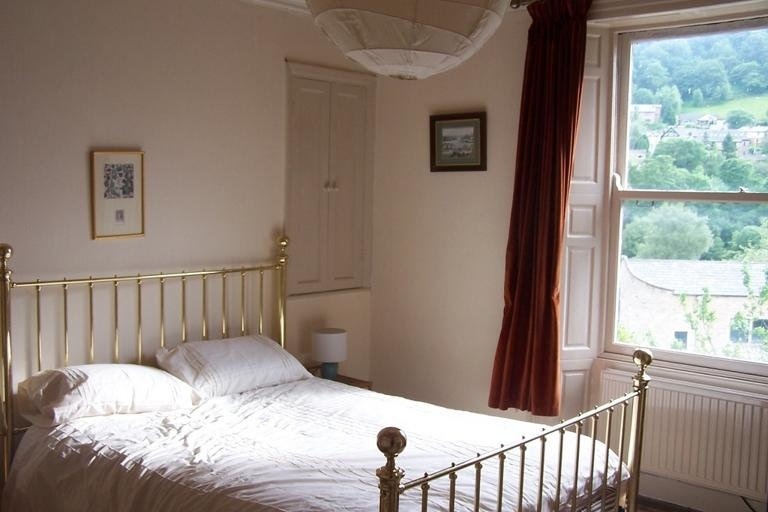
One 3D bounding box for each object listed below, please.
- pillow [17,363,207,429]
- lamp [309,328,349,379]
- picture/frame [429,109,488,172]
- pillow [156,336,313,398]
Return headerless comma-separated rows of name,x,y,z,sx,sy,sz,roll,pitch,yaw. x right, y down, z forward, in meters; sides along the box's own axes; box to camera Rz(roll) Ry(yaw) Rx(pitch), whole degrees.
pillow,-1.701,0.825,3.590,0.605,0.164,0.509,8,2,-37
lamp,-0.442,0.794,4.759,0.258,0.402,0.261,3,6,2
picture/frame,0.636,-0.967,4.872,0.527,0.508,0.043,2,6,34
pillow,-1.016,0.755,4.072,0.600,0.148,0.478,3,15,-39
